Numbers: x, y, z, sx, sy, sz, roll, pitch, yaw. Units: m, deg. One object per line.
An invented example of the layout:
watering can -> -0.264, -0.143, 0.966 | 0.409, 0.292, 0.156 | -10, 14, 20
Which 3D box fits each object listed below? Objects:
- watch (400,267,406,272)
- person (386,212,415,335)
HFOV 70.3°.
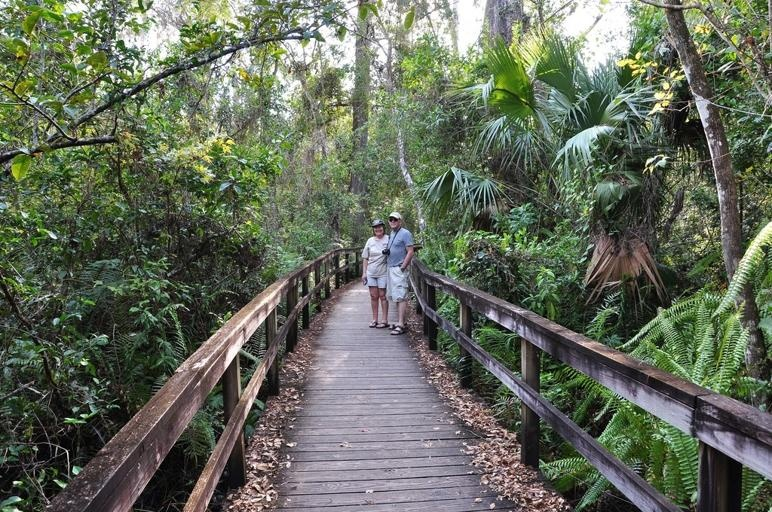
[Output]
watch -> 0.265, 0.211, 8.618 | 0.056, 0.060, 0.056 | 7, 37, 19
person -> 0.239, 0.253, 9.115 | 0.429, 1.949, 1.177 | -3, 6, 1
